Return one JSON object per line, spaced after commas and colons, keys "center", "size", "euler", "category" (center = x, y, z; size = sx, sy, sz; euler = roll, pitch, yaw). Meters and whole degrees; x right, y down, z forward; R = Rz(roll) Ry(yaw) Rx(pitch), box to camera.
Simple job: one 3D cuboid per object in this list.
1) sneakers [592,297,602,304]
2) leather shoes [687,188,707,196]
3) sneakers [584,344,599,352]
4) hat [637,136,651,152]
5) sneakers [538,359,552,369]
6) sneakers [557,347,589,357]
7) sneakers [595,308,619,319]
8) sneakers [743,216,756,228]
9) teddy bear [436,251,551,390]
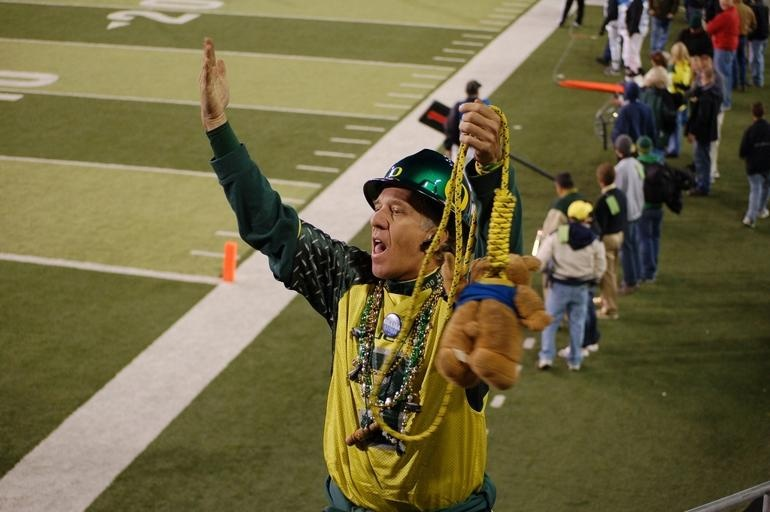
{"center": [3.392, 0.709, 21.167], "size": [0.113, 0.047, 0.136], "euler": [1, 21, 2], "category": "sneakers"}
{"center": [5.781, -1.161, 24.409], "size": [0.295, 0.153, 0.135], "euler": [2, 15, 9], "category": "leather shoes"}
{"center": [3.194, 1.398, 20.358], "size": [0.104, 0.063, 0.162], "euler": [25, -39, -36], "category": "sneakers"}
{"center": [4.244, -1.815, 21.593], "size": [0.170, 0.148, 0.247], "euler": [7, 43, 2], "category": "hat"}
{"center": [2.420, 1.629, 19.961], "size": [0.113, 0.142, 0.194], "euler": [-2, 8, -28], "category": "sneakers"}
{"center": [2.900, 1.475, 20.236], "size": [0.317, 0.118, 0.207], "euler": [0, -1, -16], "category": "sneakers"}
{"center": [3.536, 0.876, 21.029], "size": [0.267, 0.177, 0.244], "euler": [15, 9, 14], "category": "sneakers"}
{"center": [6.424, -0.582, 23.357], "size": [0.215, 0.234, 0.136], "euler": [16, 13, 36], "category": "sneakers"}
{"center": [1.183, 0.732, 14.589], "size": [1.247, 1.355, 0.756], "euler": [-1, 17, 2], "category": "teddy bear"}
